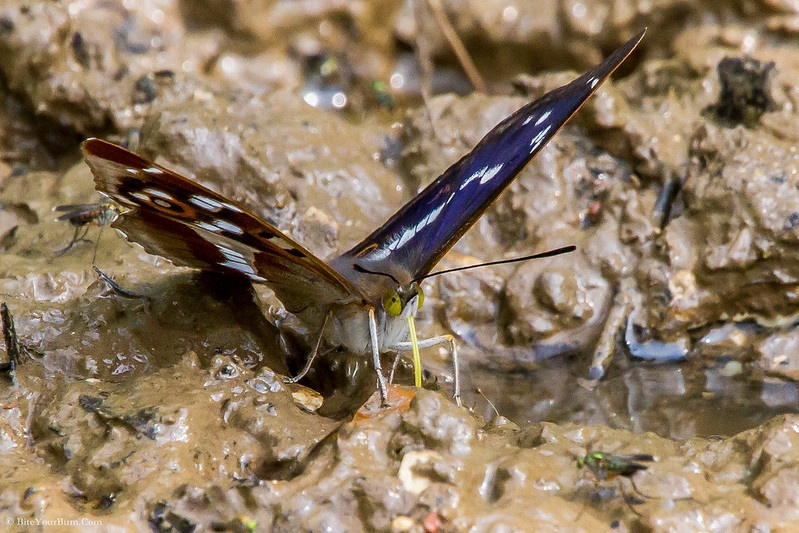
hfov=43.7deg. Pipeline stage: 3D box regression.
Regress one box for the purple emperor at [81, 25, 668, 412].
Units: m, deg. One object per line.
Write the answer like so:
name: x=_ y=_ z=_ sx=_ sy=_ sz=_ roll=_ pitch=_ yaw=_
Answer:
purple emperor: x=-0.269 y=-0.052 z=6.290 sx=2.810 sy=1.452 sz=1.619 roll=-10 pitch=100 yaw=-23
